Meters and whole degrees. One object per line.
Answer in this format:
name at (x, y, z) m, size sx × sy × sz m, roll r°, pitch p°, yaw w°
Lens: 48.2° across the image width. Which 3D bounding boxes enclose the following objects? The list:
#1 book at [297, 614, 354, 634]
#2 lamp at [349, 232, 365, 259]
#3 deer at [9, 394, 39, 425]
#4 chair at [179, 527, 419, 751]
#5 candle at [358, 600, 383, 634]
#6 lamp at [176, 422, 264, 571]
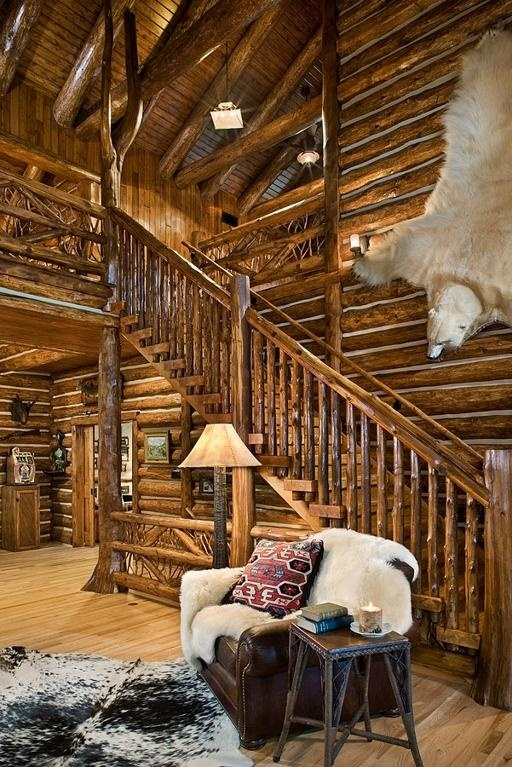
book at (0.257, 0.906, 2.157) m, size 0.098 × 0.023 × 0.095 m, roll 3°, pitch -6°, yaw -36°
lamp at (0.903, -1.256, 5.266) m, size 0.133 × 0.210 × 0.226 m, roll 3°, pitch -7°, yaw -16°
deer at (-3.570, 0.414, 8.782) m, size 0.214 × 0.446 × 0.452 m, roll 0°, pitch -7°, yaw 13°
chair at (0.211, 1.029, 2.627) m, size 0.920 × 0.690 × 0.913 m, roll 6°, pitch -12°, yaw -25°
candle at (0.426, 0.869, 2.136) m, size 0.083 × 0.095 × 0.085 m, roll -2°, pitch -2°, yaw 26°
lamp at (-0.206, 0.697, 4.061) m, size 0.777 × 1.307 × 0.810 m, roll -1°, pitch 0°, yaw -1°
